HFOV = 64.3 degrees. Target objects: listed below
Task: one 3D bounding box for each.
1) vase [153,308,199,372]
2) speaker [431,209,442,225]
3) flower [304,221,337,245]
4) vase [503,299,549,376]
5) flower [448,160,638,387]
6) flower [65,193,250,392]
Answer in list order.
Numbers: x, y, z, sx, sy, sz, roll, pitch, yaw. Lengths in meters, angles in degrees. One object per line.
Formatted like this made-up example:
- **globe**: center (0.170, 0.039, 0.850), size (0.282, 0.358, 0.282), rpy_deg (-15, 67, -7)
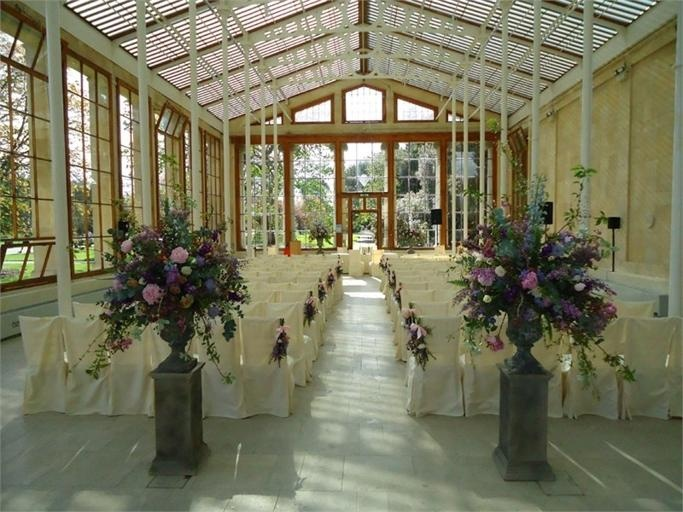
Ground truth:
- **vase**: center (-1.485, 0.764, 4.915), size (0.462, 0.535, 0.516), rpy_deg (-2, -1, -32)
- **speaker**: center (3.085, -1.303, 17.883), size (0.449, 0.705, 0.475), rpy_deg (0, 7, -1)
- **flower**: center (-0.859, -0.858, 18.770), size (0.933, 1.090, 0.992), rpy_deg (2, 1, 2)
- **vase**: center (1.611, 0.706, 4.737), size (0.379, 0.515, 0.377), rpy_deg (-6, 6, -35)
- **flower**: center (1.775, 0.400, 5.055), size (1.149, 1.802, 1.349), rpy_deg (-15, -23, 41)
- **flower**: center (-1.566, 0.336, 4.954), size (1.013, 1.313, 1.069), rpy_deg (-4, -6, -32)
